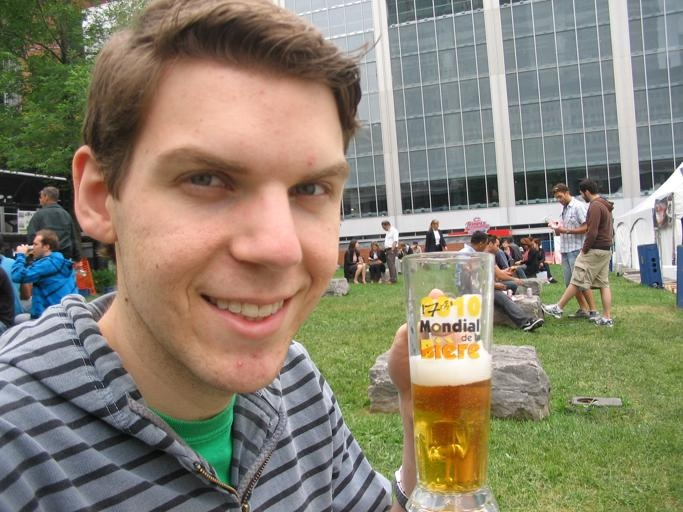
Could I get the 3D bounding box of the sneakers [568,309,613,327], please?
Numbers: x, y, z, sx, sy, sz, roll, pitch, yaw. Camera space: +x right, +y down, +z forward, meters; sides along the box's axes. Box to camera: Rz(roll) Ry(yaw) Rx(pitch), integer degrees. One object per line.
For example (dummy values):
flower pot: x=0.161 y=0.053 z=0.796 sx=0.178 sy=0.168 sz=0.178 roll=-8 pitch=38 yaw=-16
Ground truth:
sneakers: x=3.657 y=0.906 z=8.313 sx=0.127 sy=0.180 sz=0.375 roll=5 pitch=4 yaw=-37

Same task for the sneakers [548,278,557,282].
sneakers: x=5.860 y=0.693 z=15.863 sx=0.100 sy=0.138 sz=0.308 roll=-2 pitch=-2 yaw=-17

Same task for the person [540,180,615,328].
person: x=3.553 y=-0.064 z=8.423 sx=0.824 sy=2.034 sz=0.988 roll=1 pitch=5 yaw=26

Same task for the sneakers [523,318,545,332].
sneakers: x=2.638 y=0.942 z=7.856 sx=0.274 sy=0.165 sz=0.273 roll=-1 pitch=4 yaw=5

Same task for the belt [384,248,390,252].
belt: x=1.395 y=-0.163 z=17.136 sx=0.109 sy=0.119 sz=0.088 roll=2 pitch=3 yaw=9
